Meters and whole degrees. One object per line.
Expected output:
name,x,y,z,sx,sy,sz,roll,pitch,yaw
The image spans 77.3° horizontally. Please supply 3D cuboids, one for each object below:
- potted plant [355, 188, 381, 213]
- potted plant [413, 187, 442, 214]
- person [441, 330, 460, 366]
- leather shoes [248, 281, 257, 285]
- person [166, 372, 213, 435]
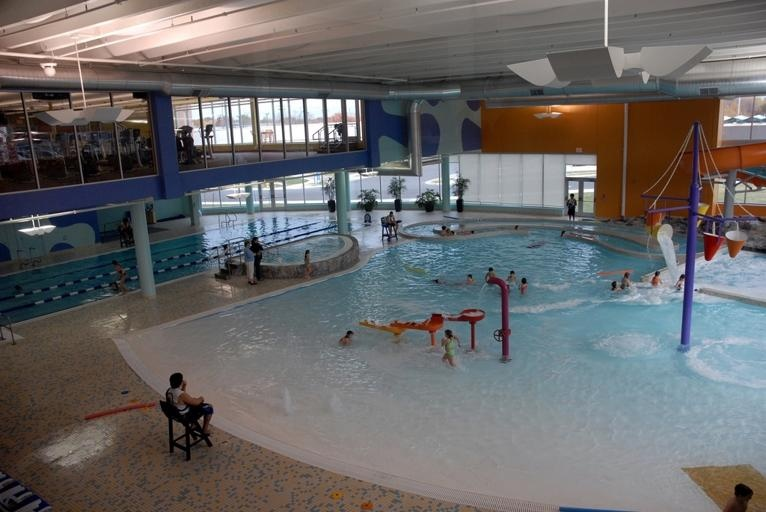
potted plant,-0.895,-3.438,29.720,1.177,1.218,2.069,-4,14,-1
potted plant,2.754,-3.399,29.179,1.692,1.185,1.564,-6,12,-29
person,1.741,2.196,12.388,0.433,0.959,1.066,-2,15,8
leather shoes,-4.744,0.950,17.460,0.297,0.136,0.201,-5,14,-10
person,-3.712,2.854,9.152,0.731,1.150,0.856,2,3,41
